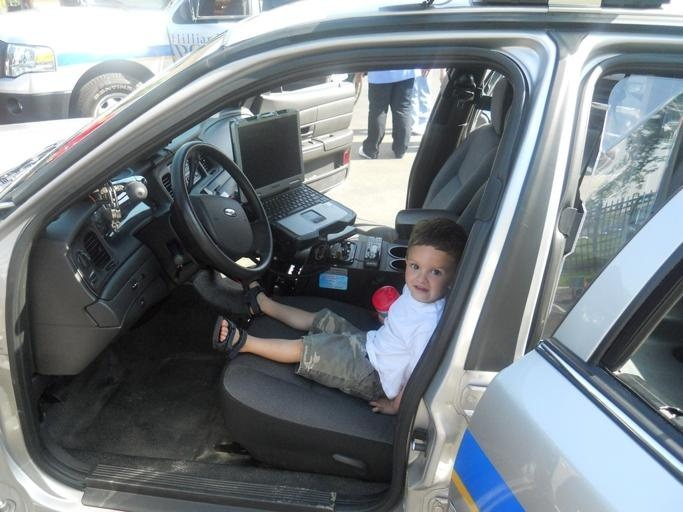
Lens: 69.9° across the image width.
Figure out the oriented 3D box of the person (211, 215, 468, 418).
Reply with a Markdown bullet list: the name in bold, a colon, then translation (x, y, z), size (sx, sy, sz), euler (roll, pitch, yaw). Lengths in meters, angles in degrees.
- **person**: translation (0.004, 0.140, 1.760), size (0.808, 0.630, 0.446), euler (13, 22, 6)

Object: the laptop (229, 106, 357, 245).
- **laptop**: translation (-0.230, -0.396, 2.450), size (0.534, 0.485, 0.518), euler (25, 38, 20)

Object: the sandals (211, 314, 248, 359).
- **sandals**: translation (-0.387, 0.284, 1.738), size (0.139, 0.114, 0.061), euler (30, 28, 4)

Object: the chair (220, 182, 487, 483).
- **chair**: translation (-0.075, 0.357, 2.099), size (1.026, 1.232, 0.858), euler (15, 27, -2)

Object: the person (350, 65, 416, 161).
- **person**: translation (0.461, -1.424, 4.869), size (0.698, 0.329, 1.315), euler (5, 63, -3)

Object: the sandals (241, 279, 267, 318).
- **sandals**: translation (-0.345, 0.157, 2.008), size (0.071, 0.133, 0.180), euler (11, 2, -31)
